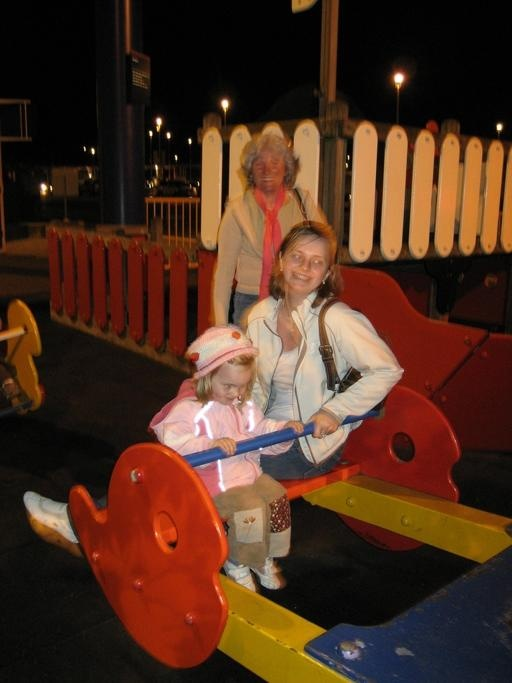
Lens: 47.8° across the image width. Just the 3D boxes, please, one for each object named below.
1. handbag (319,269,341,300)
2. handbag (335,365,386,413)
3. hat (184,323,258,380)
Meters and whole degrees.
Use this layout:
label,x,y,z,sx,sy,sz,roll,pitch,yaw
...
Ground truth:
label,x,y,z,sx,sy,sz,roll,pitch,yaw
handbag,0.255,-0.192,1.918,0.074,0.092,0.100,3,-1,-17
handbag,0.366,0.183,2.053,0.128,0.208,0.344,-2,2,24
hat,-0.118,0.024,1.781,0.236,0.111,0.220,-9,17,46
